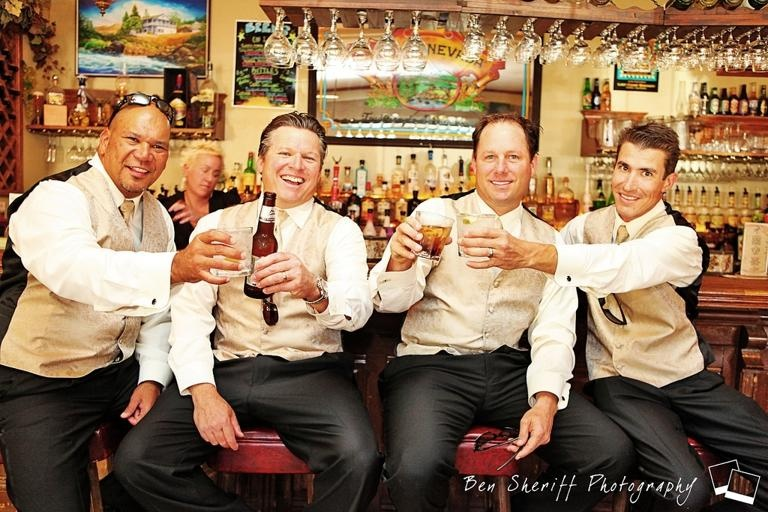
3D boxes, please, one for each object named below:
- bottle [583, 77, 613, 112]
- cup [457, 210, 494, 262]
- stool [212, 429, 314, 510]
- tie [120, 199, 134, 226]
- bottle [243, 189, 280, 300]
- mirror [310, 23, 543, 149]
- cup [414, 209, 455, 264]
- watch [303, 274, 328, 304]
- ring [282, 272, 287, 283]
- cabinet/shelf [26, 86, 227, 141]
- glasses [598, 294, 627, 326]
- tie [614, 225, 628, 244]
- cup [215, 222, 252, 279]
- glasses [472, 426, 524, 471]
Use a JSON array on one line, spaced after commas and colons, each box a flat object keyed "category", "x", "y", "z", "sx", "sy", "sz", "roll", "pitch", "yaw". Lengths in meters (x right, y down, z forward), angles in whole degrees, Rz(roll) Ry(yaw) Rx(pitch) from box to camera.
[{"category": "bottle", "x": 2.161, "y": -1.639, "z": 6.067, "sx": 0.281, "sy": 0.355, "sz": 0.288, "roll": 2, "pitch": 7, "yaw": 0}, {"category": "cup", "x": 0.410, "y": -0.083, "z": 2.601, "sx": 0.178, "sy": 0.179, "sz": 0.172, "roll": 1, "pitch": 2, "yaw": 0}, {"category": "stool", "x": -0.536, "y": 0.895, "z": 2.723, "sx": 0.433, "sy": 0.172, "sz": 0.451, "roll": 1, "pitch": -7, "yaw": -5}, {"category": "tie", "x": -1.230, "y": -0.214, "z": 2.859, "sx": 0.041, "sy": 0.101, "sz": 0.066, "roll": -7, "pitch": -8, "yaw": 44}, {"category": "bottle", "x": -0.540, "y": -0.032, "z": 2.608, "sx": 0.134, "sy": 0.494, "sz": 0.258, "roll": 0, "pitch": 7, "yaw": -12}, {"category": "mirror", "x": 0.349, "y": -1.458, "z": 5.071, "sx": 1.920, "sy": 0.962, "sz": 0.033, "roll": 1, "pitch": 0, "yaw": -3}, {"category": "cup", "x": 0.212, "y": -0.081, "z": 2.502, "sx": 0.201, "sy": 0.208, "sz": 0.193, "roll": 8, "pitch": -2, "yaw": 0}, {"category": "watch", "x": -0.300, "y": 0.149, "z": 2.612, "sx": 0.066, "sy": 0.097, "sz": 0.105, "roll": 36, "pitch": 26, "yaw": -18}, {"category": "ring", "x": -0.414, "y": 0.085, "z": 2.490, "sx": 0.016, "sy": 0.045, "sz": 0.047, "roll": -1, "pitch": 0, "yaw": -2}, {"category": "cabinet/shelf", "x": -2.170, "y": -1.198, "z": 5.000, "sx": 1.210, "sy": 0.318, "sz": 0.307, "roll": -1, "pitch": -21, "yaw": -3}, {"category": "glasses", "x": 1.117, "y": 0.262, "z": 2.916, "sx": 0.116, "sy": 0.149, "sz": 0.039, "roll": -22, "pitch": -16, "yaw": -1}, {"category": "tie", "x": 1.196, "y": -0.105, "z": 3.006, "sx": 0.069, "sy": 0.091, "sz": 0.035, "roll": 4, "pitch": -9, "yaw": 40}, {"category": "cup", "x": -0.566, "y": -0.023, "z": 2.381, "sx": 0.212, "sy": 0.239, "sz": 0.185, "roll": 1, "pitch": 9, "yaw": -4}, {"category": "glasses", "x": 0.503, "y": 0.857, "z": 2.688, "sx": 0.181, "sy": 0.152, "sz": 0.134, "roll": 3, "pitch": 7, "yaw": 13}]
